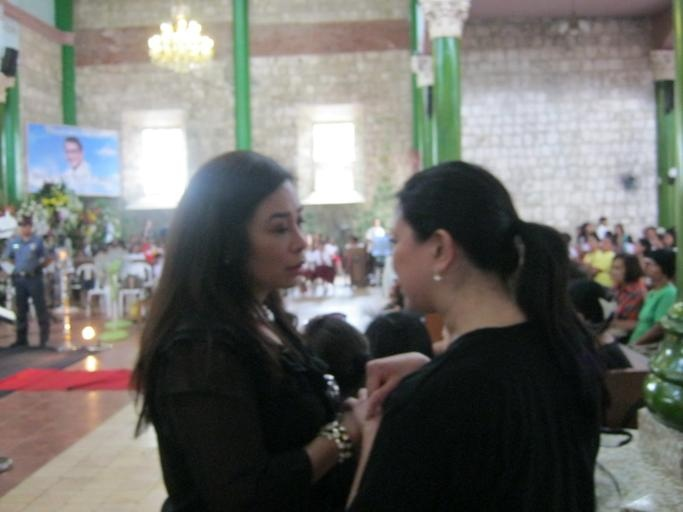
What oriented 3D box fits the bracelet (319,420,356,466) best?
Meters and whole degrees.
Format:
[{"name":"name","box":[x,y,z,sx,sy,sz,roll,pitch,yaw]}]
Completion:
[{"name":"bracelet","box":[-0.005,0.665,2.442,0.092,0.160,0.142,-20,2,-36]}]
